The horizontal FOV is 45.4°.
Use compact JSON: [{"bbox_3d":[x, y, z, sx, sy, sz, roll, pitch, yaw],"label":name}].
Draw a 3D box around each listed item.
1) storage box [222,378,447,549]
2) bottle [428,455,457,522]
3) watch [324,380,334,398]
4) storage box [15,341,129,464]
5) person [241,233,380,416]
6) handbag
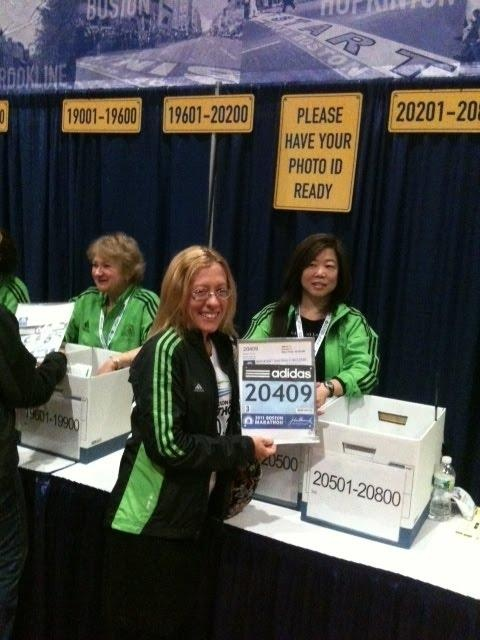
[{"bbox_3d":[0.411,0.412,1.704,0.404,0.276,0.422,3,8,38],"label":"storage box"},{"bbox_3d":[0.603,0.507,1.715,0.067,0.205,0.081,6,6,17],"label":"bottle"},{"bbox_3d":[0.301,0.229,1.921,0.025,0.057,0.041,-4,-1,-20],"label":"watch"},{"bbox_3d":[-0.572,0.328,1.999,0.295,0.381,0.334,8,10,29],"label":"storage box"},{"bbox_3d":[0.278,0.048,2.241,0.487,0.955,0.471,1,-27,15],"label":"person"},{"bbox_3d":[-0.014,0.435,1.650,0.118,0.208,0.095,30,33,33],"label":"handbag"}]
